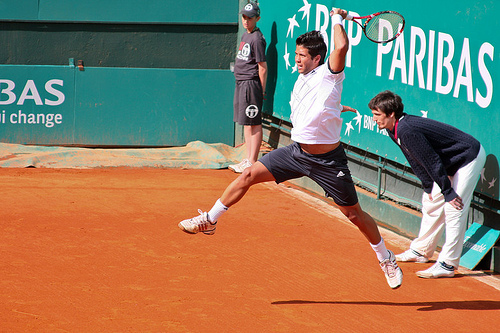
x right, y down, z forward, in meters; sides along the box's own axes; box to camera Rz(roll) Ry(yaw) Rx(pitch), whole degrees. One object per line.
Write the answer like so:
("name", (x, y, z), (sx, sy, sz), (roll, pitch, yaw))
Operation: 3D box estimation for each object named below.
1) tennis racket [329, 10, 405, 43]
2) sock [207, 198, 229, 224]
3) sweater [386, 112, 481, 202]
("tennis racket", (1.355, -1.754, 6.574), (1.014, 0.086, 0.436), (11, -39, -22))
("sock", (-0.373, 0.516, 6.192), (0.185, 0.291, 0.158), (-5, 13, -40))
("sweater", (2.346, -0.153, 6.854), (0.990, 1.243, 0.889), (-11, 2, -3))
